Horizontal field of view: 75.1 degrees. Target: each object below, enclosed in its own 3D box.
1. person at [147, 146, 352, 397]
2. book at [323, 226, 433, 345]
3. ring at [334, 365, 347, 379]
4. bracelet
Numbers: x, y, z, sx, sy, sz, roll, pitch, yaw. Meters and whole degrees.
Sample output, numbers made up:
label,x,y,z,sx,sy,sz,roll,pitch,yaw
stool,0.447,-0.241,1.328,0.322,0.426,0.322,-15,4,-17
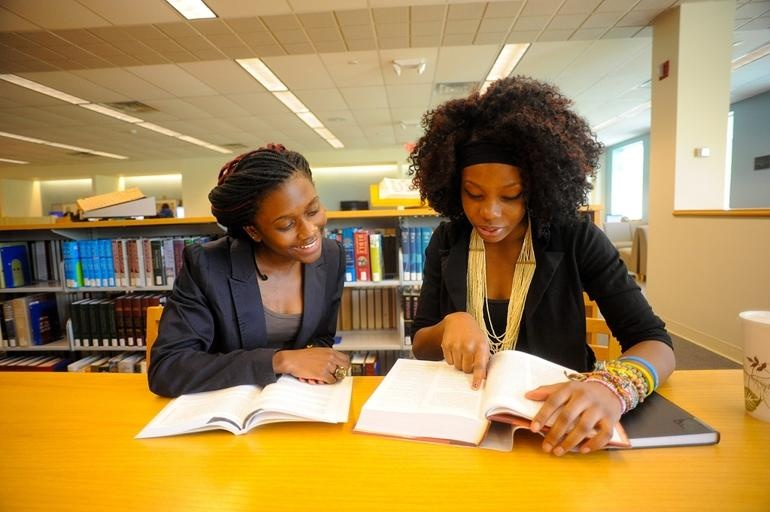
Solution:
label,x,y,z,sx,sy,sz,roll,pitch,yaw
person,-0.644,0.034,2.384,0.901,1.135,0.643,-2,5,-4
book,-0.031,0.199,3.423,0.957,0.925,0.319,0,10,-5
ring,-0.187,0.517,2.196,0.055,0.050,0.021,10,-37,-22
bracelet,0.943,0.520,2.039,0.291,0.114,0.226,3,6,22
